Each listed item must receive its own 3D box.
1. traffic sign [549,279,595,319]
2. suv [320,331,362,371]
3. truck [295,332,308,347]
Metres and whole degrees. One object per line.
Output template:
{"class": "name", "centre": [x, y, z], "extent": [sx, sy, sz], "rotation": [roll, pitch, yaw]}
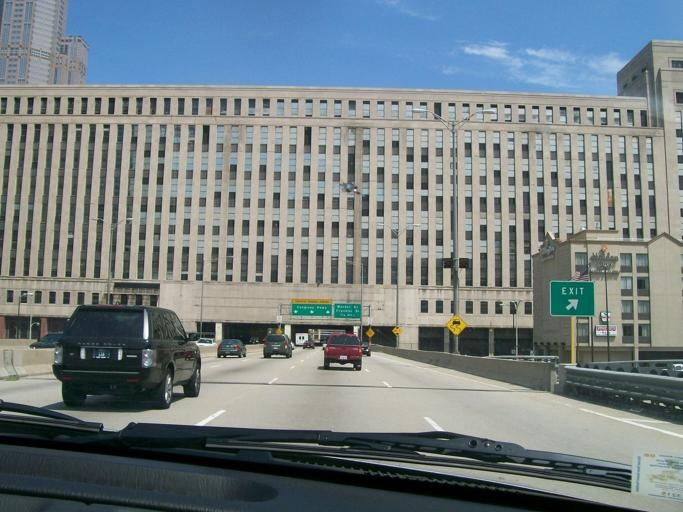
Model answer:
{"class": "traffic sign", "centre": [13.356, 2.419, 48.216], "extent": [2.495, 2.159, 0.125], "rotation": [0, -20, 7]}
{"class": "suv", "centre": [-0.068, 6.059, 57.232], "extent": [2.629, 2.393, 5.152], "rotation": [3, 3, -5]}
{"class": "truck", "centre": [-5.456, 11.323, 115.300], "extent": [1.512, 1.820, 2.396], "rotation": [0, -10, -3]}
